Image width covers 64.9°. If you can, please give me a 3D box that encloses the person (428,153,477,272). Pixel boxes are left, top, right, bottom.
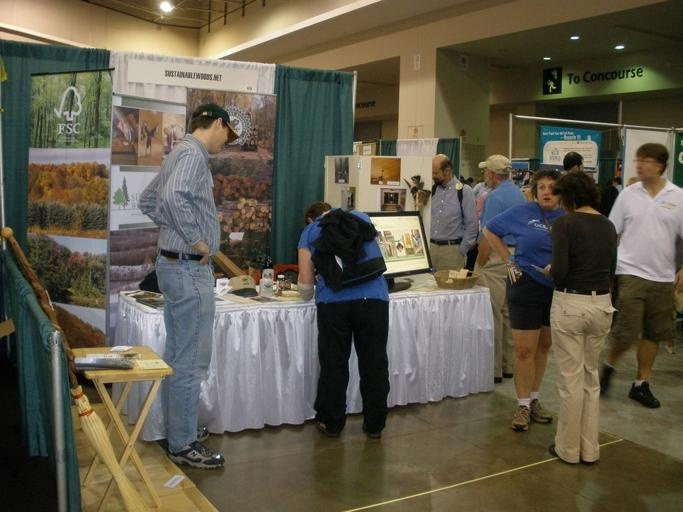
[{"bbox_3d":[1.167,-0.413,5.506,0.478,1.191,0.325,3,8,14],"label":"person"}]

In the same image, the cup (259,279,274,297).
[{"bbox_3d":[-0.557,0.238,3.989,0.110,0.136,0.116,1,-6,0],"label":"cup"}]

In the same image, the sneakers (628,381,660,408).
[{"bbox_3d":[2.479,1.126,4.430,0.112,0.205,0.311,-2,5,-24],"label":"sneakers"}]

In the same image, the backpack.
[{"bbox_3d":[0.027,-0.021,3.637,0.462,0.517,0.197,1,-8,-5],"label":"backpack"}]

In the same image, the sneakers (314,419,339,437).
[{"bbox_3d":[-0.102,1.204,3.702,0.070,0.084,0.184,-1,12,-35],"label":"sneakers"}]

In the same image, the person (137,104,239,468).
[{"bbox_3d":[-0.926,0.170,3.309,0.427,2.184,0.512,-1,8,-18],"label":"person"}]

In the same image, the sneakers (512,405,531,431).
[{"bbox_3d":[1.292,1.168,3.838,0.087,0.096,0.214,-2,-5,13],"label":"sneakers"}]

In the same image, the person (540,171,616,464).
[{"bbox_3d":[1.511,0.393,3.395,0.400,1.815,0.334,4,8,20],"label":"person"}]

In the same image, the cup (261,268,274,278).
[{"bbox_3d":[-0.570,0.133,4.126,0.065,0.101,0.104,5,1,14],"label":"cup"}]

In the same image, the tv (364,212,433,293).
[{"bbox_3d":[0.504,-0.071,4.508,0.578,0.597,0.207,-3,24,42],"label":"tv"}]

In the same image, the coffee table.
[{"bbox_3d":[-1.198,0.968,2.985,0.456,0.815,0.831,1,2,-18],"label":"coffee table"}]

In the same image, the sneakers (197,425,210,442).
[{"bbox_3d":[-0.912,1.183,3.553,0.039,0.057,0.120,0,-12,12],"label":"sneakers"}]

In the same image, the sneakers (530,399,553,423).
[{"bbox_3d":[1.488,1.167,4.050,0.089,0.118,0.243,0,-3,-21],"label":"sneakers"}]
